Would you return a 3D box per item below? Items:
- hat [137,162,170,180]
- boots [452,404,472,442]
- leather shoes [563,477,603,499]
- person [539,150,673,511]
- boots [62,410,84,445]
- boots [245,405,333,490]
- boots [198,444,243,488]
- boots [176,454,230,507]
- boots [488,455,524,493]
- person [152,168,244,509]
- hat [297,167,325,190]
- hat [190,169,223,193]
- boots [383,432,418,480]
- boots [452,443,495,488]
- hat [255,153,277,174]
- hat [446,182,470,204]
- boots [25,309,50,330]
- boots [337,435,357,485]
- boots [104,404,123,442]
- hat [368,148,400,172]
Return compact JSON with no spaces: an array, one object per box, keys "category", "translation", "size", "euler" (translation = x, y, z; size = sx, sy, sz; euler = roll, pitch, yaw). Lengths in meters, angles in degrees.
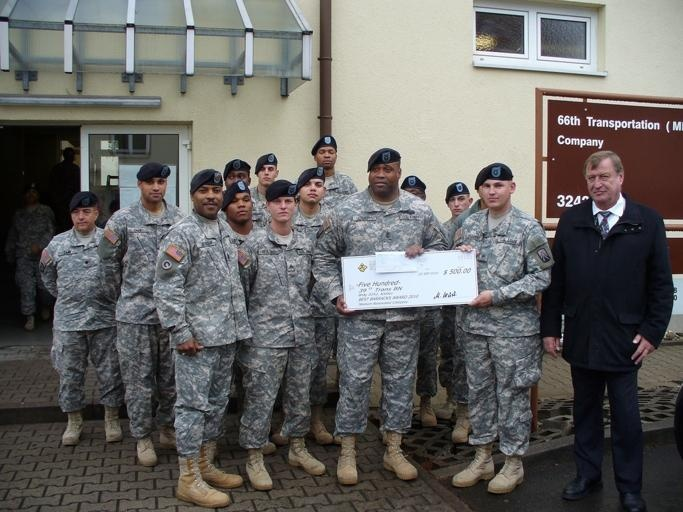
[{"category":"hat","translation":[-1.675,-0.733,6.164],"size":[0.194,0.071,0.204],"euler":[-7,2,-43]},{"category":"boots","translation":[1.137,1.578,6.682],"size":[0.160,0.287,0.480],"euler":[0,5,14]},{"category":"leather shoes","translation":[1.904,1.843,5.591],"size":[0.358,0.149,0.128],"euler":[-1,-4,-26]},{"category":"person","translation":[2.064,0.540,5.571],"size":[0.967,2.682,0.838],"euler":[6,13,28]},{"category":"boots","translation":[-2.490,1.573,6.508],"size":[0.125,0.302,0.332],"euler":[5,8,-5]},{"category":"boots","translation":[-0.515,1.641,5.907],"size":[0.547,0.334,0.402],"euler":[0,-4,-33]},{"category":"boots","translation":[-1.011,1.734,5.750],"size":[0.435,0.296,0.142],"euler":[0,12,23]},{"category":"boots","translation":[-1.098,1.756,5.513],"size":[0.451,0.387,0.191],"euler":[6,13,26]},{"category":"boots","translation":[1.346,1.767,5.731],"size":[0.433,0.269,0.170],"euler":[-8,8,-40]},{"category":"person","translation":[-1.087,0.626,5.576],"size":[0.639,2.575,0.763],"euler":[2,12,10]},{"category":"hat","translation":[-0.303,-0.783,6.878],"size":[0.234,0.125,0.268],"euler":[-18,-6,7]},{"category":"hat","translation":[-1.106,-0.604,5.646],"size":[0.189,0.129,0.228],"euler":[1,-10,-30]},{"category":"boots","translation":[0.500,1.701,5.942],"size":[0.161,0.330,0.483],"euler":[-3,5,-22]},{"category":"boots","translation":[1.093,1.738,5.834],"size":[0.451,0.300,0.164],"euler":[-7,8,-27]},{"category":"hat","translation":[-0.818,-0.992,7.451],"size":[0.195,0.110,0.263],"euler":[-1,-3,-18]},{"category":"hat","translation":[1.294,-0.709,7.739],"size":[0.192,0.138,0.265],"euler":[-9,3,27]},{"category":"boots","translation":[-4.393,0.931,10.126],"size":[0.191,0.265,0.091],"euler":[27,16,26]},{"category":"boots","translation":[0.059,1.695,5.860],"size":[0.180,0.353,0.283],"euler":[0,11,1]},{"category":"boots","translation":[-2.146,1.555,6.601],"size":[0.142,0.296,0.378],"euler":[-7,10,-15]},{"category":"hat","translation":[0.360,-0.803,5.881],"size":[0.252,0.189,0.201],"euler":[-1,11,-5]}]
